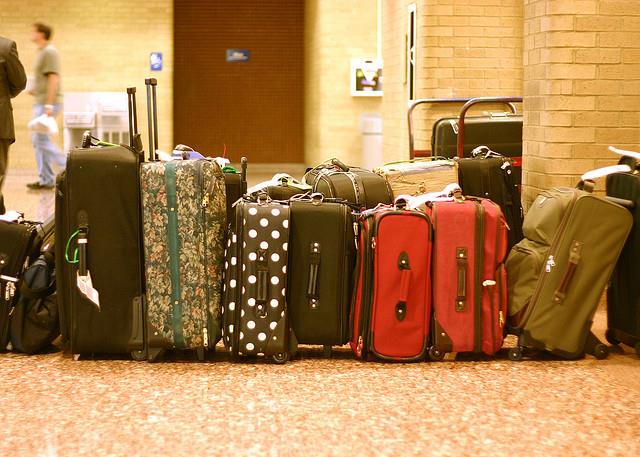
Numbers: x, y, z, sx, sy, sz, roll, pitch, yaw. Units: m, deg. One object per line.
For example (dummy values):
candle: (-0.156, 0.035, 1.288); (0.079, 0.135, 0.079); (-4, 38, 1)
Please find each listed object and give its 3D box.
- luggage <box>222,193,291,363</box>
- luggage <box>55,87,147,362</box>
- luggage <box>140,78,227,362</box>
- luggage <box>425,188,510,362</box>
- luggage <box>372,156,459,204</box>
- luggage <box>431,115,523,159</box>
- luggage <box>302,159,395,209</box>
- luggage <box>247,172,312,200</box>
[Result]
luggage: (-0.301, 0.243, 3.051); (0.314, 0.789, 0.185); (-1, 8, -4)
luggage: (-1.053, -0.019, 3.074); (0.426, 1.313, 0.347); (-3, 9, -16)
luggage: (-0.651, 0.152, 3.044); (0.378, 0.939, 0.188); (-3, 9, -16)
luggage: (0.714, 0.232, 3.136); (0.389, 0.775, 0.242); (0, 8, 2)
luggage: (0.559, -0.275, 3.718); (0.352, 0.241, 0.126); (-1, 0, 11)
luggage: (1.295, -0.741, 5.191); (0.532, 0.395, 0.187); (1, 9, 3)
luggage: (0.118, -0.257, 3.654); (0.291, 0.179, 0.419); (8, 8, -20)
luggage: (-0.234, -0.224, 3.506); (0.254, 0.092, 0.196); (-4, 8, -44)
